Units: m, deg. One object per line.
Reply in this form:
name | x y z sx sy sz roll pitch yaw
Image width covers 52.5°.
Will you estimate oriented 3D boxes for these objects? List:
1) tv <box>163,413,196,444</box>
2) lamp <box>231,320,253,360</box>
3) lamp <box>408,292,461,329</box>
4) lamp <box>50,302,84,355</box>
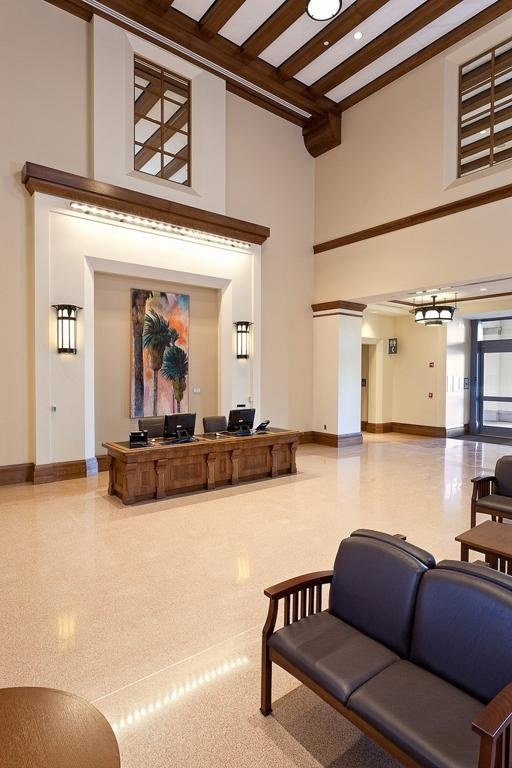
tv | -0.887 0.496 6.015 0.351 0.289 0.412 0 2 -12
lamp | -0.188 -0.716 8.639 0.182 0.616 0.386 3 3 42
lamp | 3.425 -1.399 10.128 0.735 0.647 0.832 1 -3 -10
lamp | -2.355 -0.662 6.513 0.279 0.605 0.309 -1 -1 0
